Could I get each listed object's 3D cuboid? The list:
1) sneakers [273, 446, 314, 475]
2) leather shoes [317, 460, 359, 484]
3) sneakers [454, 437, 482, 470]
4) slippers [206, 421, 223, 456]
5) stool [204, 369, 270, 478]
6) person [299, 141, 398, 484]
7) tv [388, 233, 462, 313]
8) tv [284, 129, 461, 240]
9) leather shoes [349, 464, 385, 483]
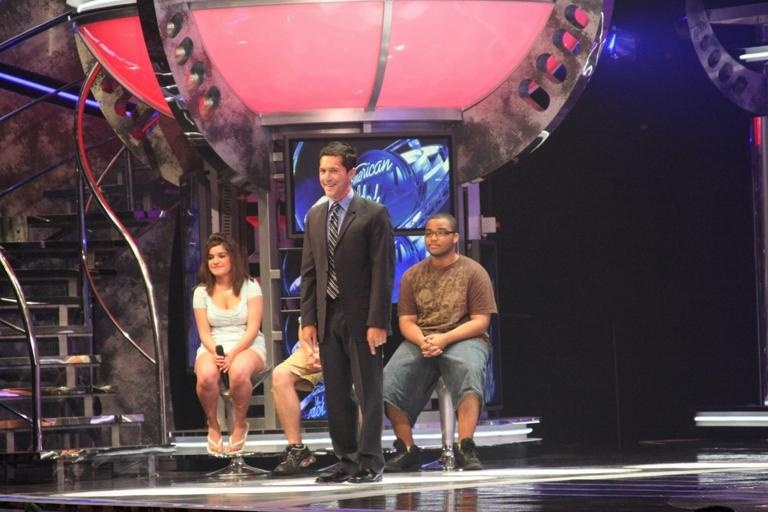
[{"bbox_3d":[-0.627,1.445,7.088,0.148,0.147,0.336,-3,5,41],"label":"sneakers"},{"bbox_3d":[-0.277,1.430,6.629,0.326,0.113,0.142,2,-4,-29],"label":"leather shoes"},{"bbox_3d":[0.599,1.408,7.074,0.177,0.225,0.145,-3,-12,1],"label":"sneakers"},{"bbox_3d":[-1.247,1.341,7.320,0.107,0.260,0.073,-9,1,3],"label":"slippers"},{"bbox_3d":[-1.089,1.248,7.391,0.447,0.786,0.740,-1,-12,-6],"label":"stool"},{"bbox_3d":[-0.244,0.378,6.658,0.529,2.223,0.506,2,-13,-22],"label":"person"},{"bbox_3d":[0.184,0.070,8.118,0.616,0.528,0.140,4,4,14],"label":"tv"},{"bbox_3d":[-0.124,-0.544,7.599,1.084,0.538,0.040,-1,-3,-3],"label":"tv"},{"bbox_3d":[-0.111,1.439,6.534,0.205,0.075,0.099,8,-13,-26],"label":"leather shoes"}]
